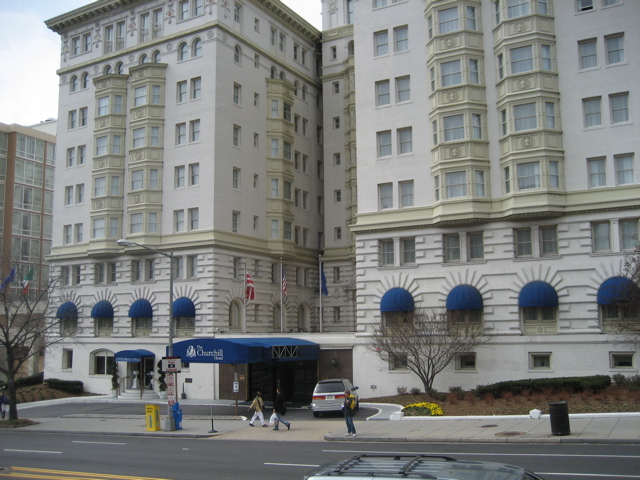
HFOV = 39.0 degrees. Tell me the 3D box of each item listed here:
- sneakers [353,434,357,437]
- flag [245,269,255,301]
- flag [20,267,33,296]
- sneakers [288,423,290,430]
[{"bbox_3d":[2.103,11.803,54.307,0.278,0.151,0.356,0,-12,-6],"label":"sneakers"},{"bbox_3d":[-5.780,3.725,73.836,0.561,2.256,1.439,-2,-11,1],"label":"flag"},{"bbox_3d":[-32.267,4.532,98.812,0.607,1.732,4.887,39,-16,-7],"label":"flag"},{"bbox_3d":[-1.991,11.945,57.506,0.122,0.363,0.243,4,10,-3],"label":"sneakers"}]
